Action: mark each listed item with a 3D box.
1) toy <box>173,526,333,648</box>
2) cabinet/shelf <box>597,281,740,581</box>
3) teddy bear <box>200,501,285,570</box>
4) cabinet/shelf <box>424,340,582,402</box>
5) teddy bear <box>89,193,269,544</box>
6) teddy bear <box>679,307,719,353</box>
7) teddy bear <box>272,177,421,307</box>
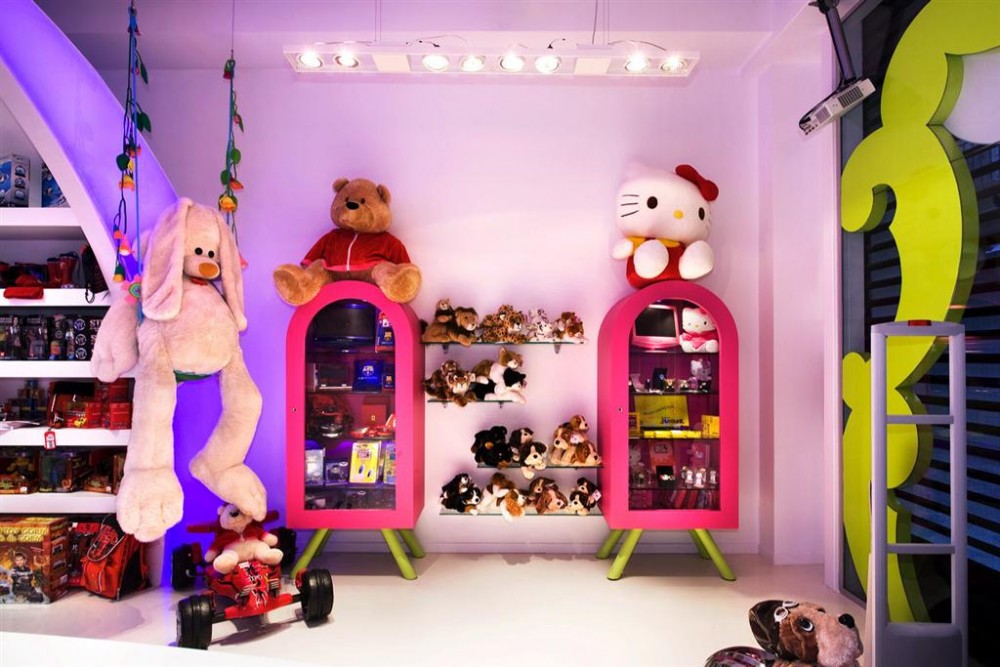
[{"bbox_3d":[-1.601,1.615,5.186,0.967,0.726,0.549,0,-8,-18],"label":"toy"},{"bbox_3d":[1.241,0.729,5.908,0.901,2.042,0.777,2,-5,3],"label":"cabinet/shelf"},{"bbox_3d":[-1.698,1.334,5.208,0.439,0.456,0.382,-7,-4,-17],"label":"teddy bear"},{"bbox_3d":[-0.076,0.300,5.727,0.832,0.468,0.469,-3,-8,17],"label":"cabinet/shelf"},{"bbox_3d":[-2.029,0.212,5.069,1.048,2.143,0.470,2,-8,-28],"label":"teddy bear"},{"bbox_3d":[1.410,-0.029,5.620,0.255,0.324,0.195,-6,-1,30],"label":"teddy bear"},{"bbox_3d":[-1.031,-0.660,5.641,1.051,0.885,0.594,3,10,4],"label":"teddy bear"}]
